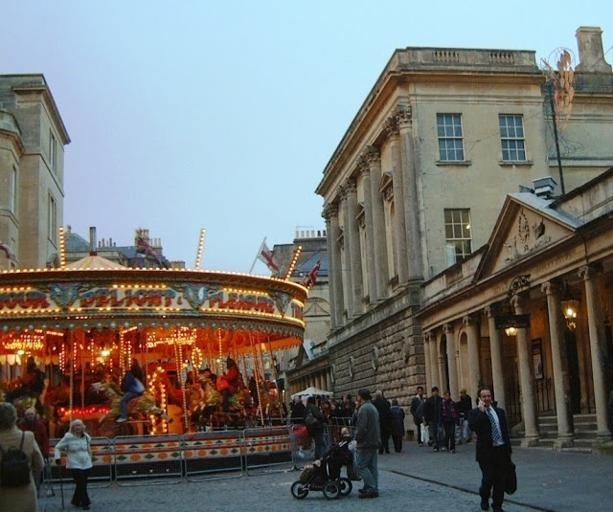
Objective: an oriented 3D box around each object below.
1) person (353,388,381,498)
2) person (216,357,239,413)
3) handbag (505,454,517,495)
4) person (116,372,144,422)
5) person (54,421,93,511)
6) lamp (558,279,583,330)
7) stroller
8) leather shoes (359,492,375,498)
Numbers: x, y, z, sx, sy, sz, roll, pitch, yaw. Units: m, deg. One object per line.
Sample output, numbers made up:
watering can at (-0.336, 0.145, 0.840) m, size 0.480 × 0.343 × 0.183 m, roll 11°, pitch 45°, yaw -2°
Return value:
person at (1.125, 3.453, 14.207) m, size 0.510 × 1.962 × 0.698 m, roll -7°, pitch -14°, yaw 24°
person at (-2.231, 3.623, 21.594) m, size 0.401 × 1.532 × 0.827 m, roll -7°, pitch -12°, yaw 28°
handbag at (3.142, 3.373, 11.762) m, size 0.159 × 0.565 × 0.478 m, roll -5°, pitch -11°, yaw 17°
person at (-4.593, 3.638, 19.955) m, size 0.687 × 1.285 × 0.262 m, roll 1°, pitch -11°, yaw -18°
person at (-4.473, 3.990, 14.667) m, size 0.664 × 1.656 × 1.090 m, roll 1°, pitch -11°, yaw -17°
lamp at (7.657, 1.387, 22.072) m, size 0.547 × 1.429 × 3.941 m, roll -6°, pitch -11°, yaw 20°
stroller at (0.320, 4.119, 14.994) m, size 1.178 × 1.487 × 1.082 m, roll 2°, pitch -14°, yaw 6°
leather shoes at (1.098, 4.311, 13.868) m, size 0.267 × 0.137 × 0.103 m, roll 2°, pitch -1°, yaw 10°
